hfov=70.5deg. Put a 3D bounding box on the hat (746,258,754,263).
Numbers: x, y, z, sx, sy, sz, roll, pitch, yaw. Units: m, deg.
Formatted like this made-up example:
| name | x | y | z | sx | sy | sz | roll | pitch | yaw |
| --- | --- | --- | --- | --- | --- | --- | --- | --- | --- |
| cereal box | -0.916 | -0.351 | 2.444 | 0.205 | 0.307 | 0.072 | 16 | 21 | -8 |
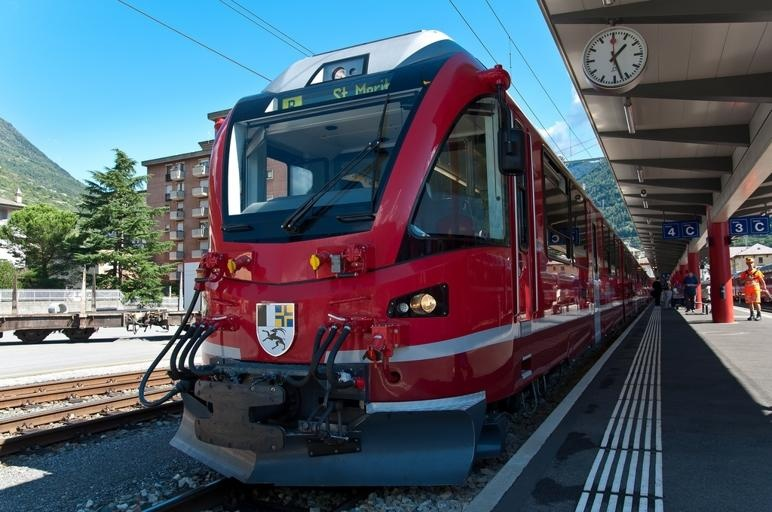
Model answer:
| name | x | y | z | sx | sy | sz | roll | pitch | yaw |
| --- | --- | --- | --- | --- | --- | --- | --- | --- | --- |
| hat | 12.948 | 0.185 | 19.416 | 0.246 | 0.108 | 0.350 | -5 | -7 | 31 |
